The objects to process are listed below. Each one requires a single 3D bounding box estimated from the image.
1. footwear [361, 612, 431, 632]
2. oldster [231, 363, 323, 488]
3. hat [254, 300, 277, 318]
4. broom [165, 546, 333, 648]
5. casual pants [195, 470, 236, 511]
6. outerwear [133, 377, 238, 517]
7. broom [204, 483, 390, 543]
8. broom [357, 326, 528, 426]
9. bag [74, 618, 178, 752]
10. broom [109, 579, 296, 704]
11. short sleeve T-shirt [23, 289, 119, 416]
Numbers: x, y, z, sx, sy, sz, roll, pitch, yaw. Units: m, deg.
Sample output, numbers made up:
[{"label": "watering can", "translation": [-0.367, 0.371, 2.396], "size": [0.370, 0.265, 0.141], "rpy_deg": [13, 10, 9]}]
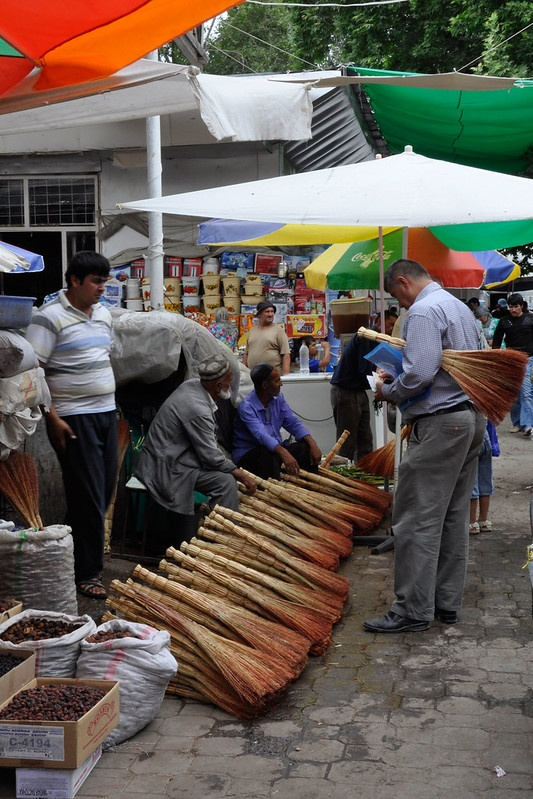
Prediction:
[{"label": "footwear", "translation": [0.565, 0.976, 3.173], "size": [0.290, 0.127, 0.100], "rpy_deg": [3, -5, 0]}, {"label": "oldster", "translation": [0.075, 0.199, 4.942], "size": [0.614, 1.002, 0.515], "rpy_deg": [7, 27, 28]}, {"label": "hat", "translation": [-0.016, -0.889, 7.039], "size": [0.185, 0.097, 0.189], "rpy_deg": [-3, -6, -26]}, {"label": "broom", "translation": [-0.078, 0.776, 2.790], "size": [0.557, 0.133, 0.178], "rpy_deg": [27, 16, 0]}, {"label": "casual pants", "translation": [-0.251, 0.496, 4.056], "size": [0.214, 0.288, 0.224], "rpy_deg": [-7, -1, 5]}, {"label": "outerwear", "translation": [-0.540, 0.243, 4.275], "size": [0.713, 0.841, 0.593], "rpy_deg": [1, 7, -12]}, {"label": "broom", "translation": [0.202, 0.665, 4.161], "size": [0.973, 0.225, 0.301], "rpy_deg": [20, 32, -14]}, {"label": "broom", "translation": [0.846, -0.086, 3.043], "size": [0.408, 0.211, 0.248], "rpy_deg": [15, 27, 20]}, {"label": "bag", "translation": [-0.428, 0.868, 2.205], "size": [0.303, 0.340, 0.217], "rpy_deg": [1, 4, -2]}, {"label": "broom", "translation": [-0.213, 0.824, 2.454], "size": [0.549, 0.188, 0.327], "rpy_deg": [23, 26, 34]}, {"label": "short sleeve T-shirt", "translation": [-0.895, -0.215, 3.420], "size": [0.219, 0.582, 0.450], "rpy_deg": [3, 5, 29]}]
